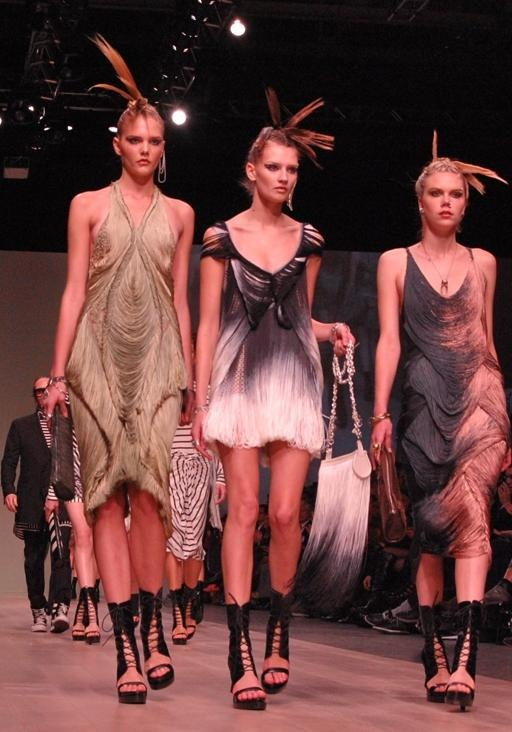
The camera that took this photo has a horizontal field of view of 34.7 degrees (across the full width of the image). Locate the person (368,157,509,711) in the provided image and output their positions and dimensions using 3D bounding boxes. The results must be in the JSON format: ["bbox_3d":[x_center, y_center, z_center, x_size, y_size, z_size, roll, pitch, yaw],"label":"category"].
[{"bbox_3d":[0.574,0.194,2.522,0.427,1.803,0.826,1,2,7],"label":"person"}]

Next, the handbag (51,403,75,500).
[{"bbox_3d":[-0.555,0.254,2.343,0.059,0.283,0.180,0,2,-13],"label":"handbag"}]

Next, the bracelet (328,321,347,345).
[{"bbox_3d":[0.251,-0.097,2.545,0.055,0.057,0.032,-8,18,-43],"label":"bracelet"}]

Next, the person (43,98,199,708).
[{"bbox_3d":[-0.390,0.056,2.294,0.379,1.706,0.533,1,2,2],"label":"person"}]

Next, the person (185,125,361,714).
[{"bbox_3d":[0.002,0.174,2.358,0.383,1.473,0.630,1,2,2],"label":"person"}]
